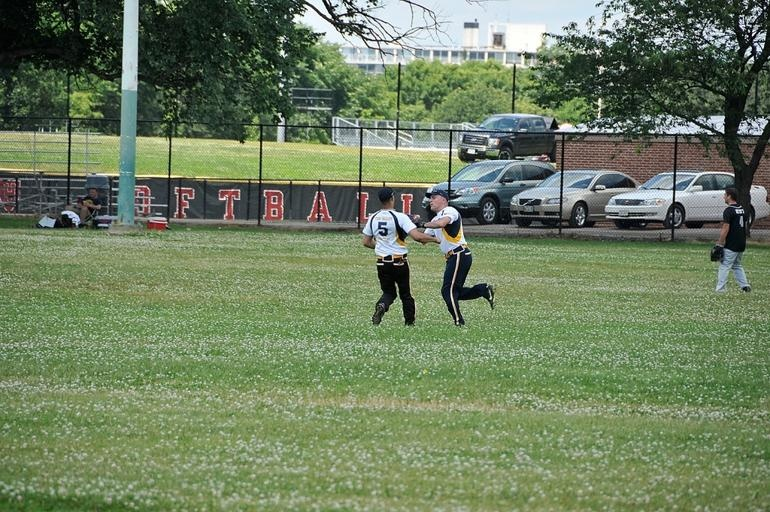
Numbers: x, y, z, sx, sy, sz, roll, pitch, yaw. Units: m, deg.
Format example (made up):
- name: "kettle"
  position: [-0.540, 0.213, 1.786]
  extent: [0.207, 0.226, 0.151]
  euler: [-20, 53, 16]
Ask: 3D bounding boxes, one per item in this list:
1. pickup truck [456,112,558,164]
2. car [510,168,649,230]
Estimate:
- name: "pickup truck"
  position: [5.799, -5.208, 67.112]
  extent: [5.367, 1.813, 2.735]
  euler: [-6, 15, -41]
- name: "car"
  position: [6.622, -2.094, 53.977]
  extent: [8.073, 2.633, 3.011]
  euler: [2, 2, -43]
